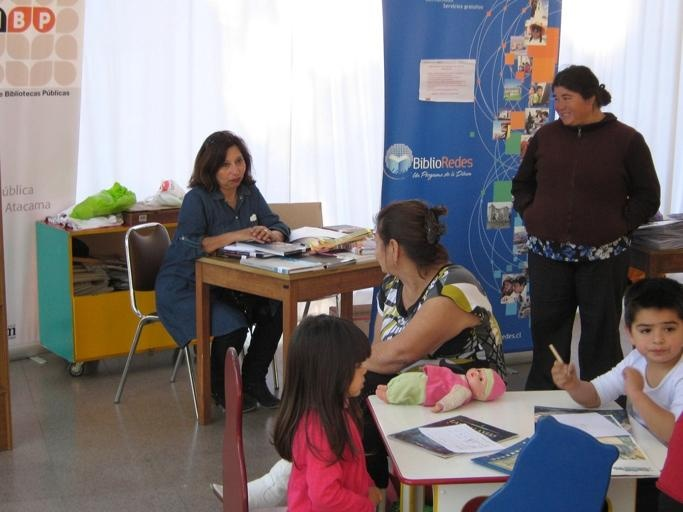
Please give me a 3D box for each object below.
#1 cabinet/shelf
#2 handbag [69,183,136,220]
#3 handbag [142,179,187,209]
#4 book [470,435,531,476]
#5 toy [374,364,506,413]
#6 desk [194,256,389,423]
[{"bbox_3d":[-1.552,0.239,3.894,0.894,0.856,0.457,-3,4,-39],"label":"cabinet/shelf"},{"bbox_3d":[-1.685,-0.390,4.058,0.349,0.151,0.217,-25,26,-24],"label":"handbag"},{"bbox_3d":[-1.294,-0.447,4.287,0.241,0.119,0.277,10,17,25],"label":"handbag"},{"bbox_3d":[0.440,0.562,1.602,0.130,0.018,0.145,2,14,42],"label":"book"},{"bbox_3d":[0.349,0.446,1.977,0.292,0.099,0.192,-3,3,-5],"label":"toy"},{"bbox_3d":[-0.062,0.443,3.395,0.556,0.753,0.762,-1,1,-10],"label":"desk"}]
